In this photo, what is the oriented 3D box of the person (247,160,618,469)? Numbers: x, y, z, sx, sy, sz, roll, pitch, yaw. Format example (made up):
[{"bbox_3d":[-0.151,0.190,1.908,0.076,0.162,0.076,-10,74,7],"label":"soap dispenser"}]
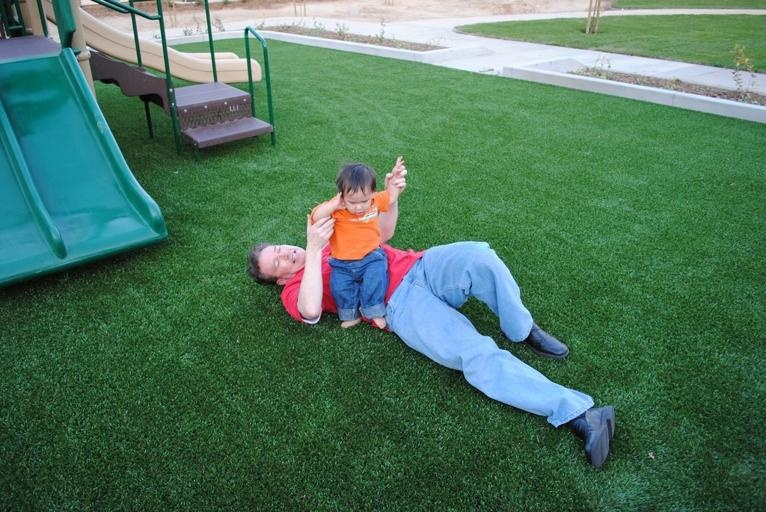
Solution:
[{"bbox_3d":[0.287,0.184,3.134,2.442,1.177,1.093,18,31,33],"label":"person"}]

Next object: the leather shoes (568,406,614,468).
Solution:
[{"bbox_3d":[1.114,0.924,2.838,0.255,0.138,0.369,-12,10,29],"label":"leather shoes"}]

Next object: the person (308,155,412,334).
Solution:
[{"bbox_3d":[-0.164,-0.060,3.297,0.648,1.001,0.424,-9,28,-23],"label":"person"}]

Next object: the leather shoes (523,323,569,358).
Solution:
[{"bbox_3d":[0.984,0.524,3.280,0.312,0.093,0.125,25,53,31],"label":"leather shoes"}]
